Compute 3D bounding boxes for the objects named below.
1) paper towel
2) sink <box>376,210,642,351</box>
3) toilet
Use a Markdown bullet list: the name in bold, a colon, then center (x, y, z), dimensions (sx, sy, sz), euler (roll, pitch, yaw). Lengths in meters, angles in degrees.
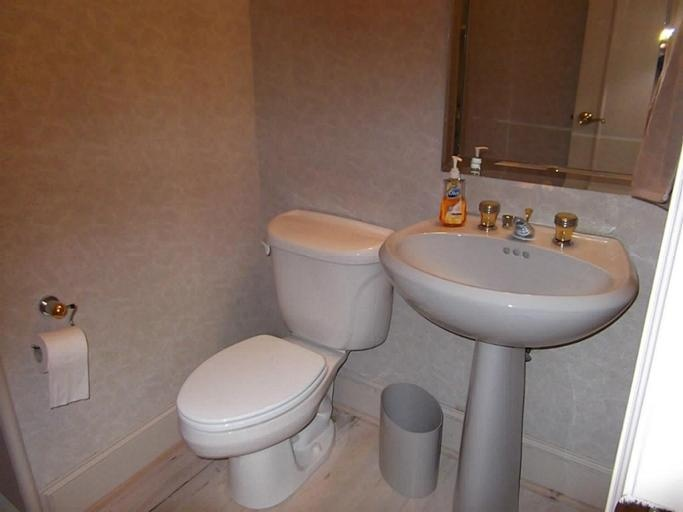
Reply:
- **paper towel**: center (-0.865, 0.342, 1.730), dimensions (0.145, 0.232, 0.096), euler (-11, 18, -33)
- **sink**: center (0.462, 0.070, 1.609), dimensions (0.692, 0.277, 0.497), euler (8, 17, 29)
- **toilet**: center (-0.193, 0.385, 1.972), dimensions (0.462, 0.973, 0.768), euler (11, 19, 37)
